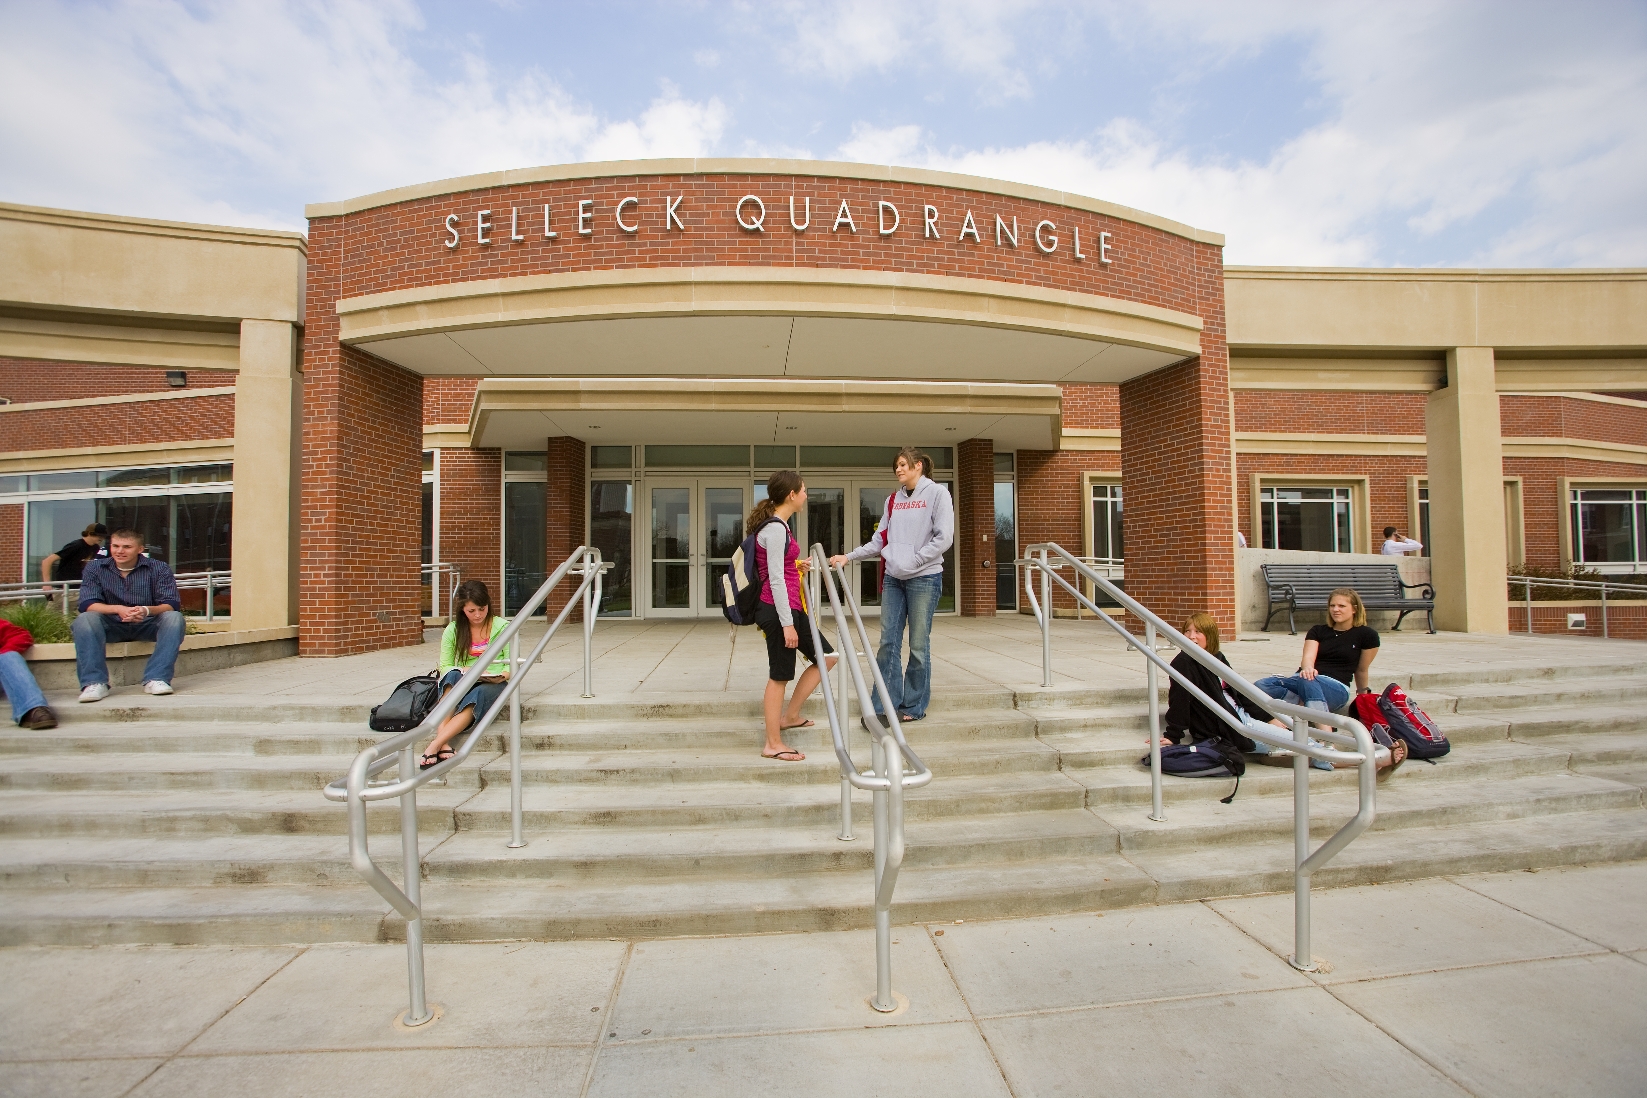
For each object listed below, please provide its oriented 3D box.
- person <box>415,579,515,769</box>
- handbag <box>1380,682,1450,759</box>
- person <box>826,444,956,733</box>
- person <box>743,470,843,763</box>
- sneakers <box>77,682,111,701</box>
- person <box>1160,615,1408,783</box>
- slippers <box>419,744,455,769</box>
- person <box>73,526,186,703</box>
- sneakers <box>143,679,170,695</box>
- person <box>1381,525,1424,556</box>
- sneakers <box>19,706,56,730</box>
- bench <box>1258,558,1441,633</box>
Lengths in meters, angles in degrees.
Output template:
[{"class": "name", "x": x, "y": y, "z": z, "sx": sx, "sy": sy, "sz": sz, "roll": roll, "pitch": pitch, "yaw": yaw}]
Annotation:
[{"class": "person", "x": -3.136, "y": 1.054, "z": 9.846, "sx": 0.759, "sy": 1.535, "sz": 1.418, "roll": 0, "pitch": 0, "yaw": -16}, {"class": "handbag", "x": 5.403, "y": 1.579, "z": 10.243, "sx": 0.527, "sy": 0.728, "sz": 0.264, "roll": -19, "pitch": -22, "yaw": -49}, {"class": "person", "x": 0.764, "y": 0.309, "z": 10.332, "sx": 0.869, "sy": 2.547, "sz": 1.000, "roll": 0, "pitch": 0, "yaw": 3}, {"class": "person", "x": -0.343, "y": 0.584, "z": 10.014, "sx": 0.620, "sy": 2.534, "sz": 1.004, "roll": 0, "pitch": 0, "yaw": -2}, {"class": "sneakers", "x": -7.106, "y": 1.383, "z": 10.894, "sx": 0.256, "sy": 0.163, "sz": 0.214, "roll": 0, "pitch": 0, "yaw": -37}, {"class": "person", "x": 3.861, "y": 1.310, "z": 10.128, "sx": 1.913, "sy": 1.367, "sz": 1.053, "roll": 0, "pitch": 0, "yaw": -15}, {"class": "slippers", "x": -3.287, "y": 1.750, "z": 9.496, "sx": 0.260, "sy": 0.150, "sz": 0.291, "roll": 0, "pitch": 0, "yaw": -12}, {"class": "person", "x": -7.033, "y": 0.635, "z": 11.357, "sx": 0.933, "sy": 1.650, "sz": 0.953, "roll": 0, "pitch": 0, "yaw": -29}, {"class": "sneakers", "x": -6.600, "y": 1.367, "z": 11.117, "sx": 0.222, "sy": 0.138, "sz": 0.179, "roll": 0, "pitch": 0, "yaw": -28}, {"class": "person", "x": 10.726, "y": -0.158, "z": 20.727, "sx": 0.329, "sy": 0.866, "sz": 0.475, "roll": -14, "pitch": 23, "yaw": -41}, {"class": "sneakers", "x": -7.395, "y": 1.578, "z": 10.543, "sx": 0.306, "sy": 0.219, "sz": 0.275, "roll": 0, "pitch": 0, "yaw": -39}, {"class": "bench", "x": 8.080, "y": 0.753, "z": 17.156, "sx": 2.540, "sy": 0.933, "sz": 0.824, "roll": 0, "pitch": 8, "yaw": -17}]
